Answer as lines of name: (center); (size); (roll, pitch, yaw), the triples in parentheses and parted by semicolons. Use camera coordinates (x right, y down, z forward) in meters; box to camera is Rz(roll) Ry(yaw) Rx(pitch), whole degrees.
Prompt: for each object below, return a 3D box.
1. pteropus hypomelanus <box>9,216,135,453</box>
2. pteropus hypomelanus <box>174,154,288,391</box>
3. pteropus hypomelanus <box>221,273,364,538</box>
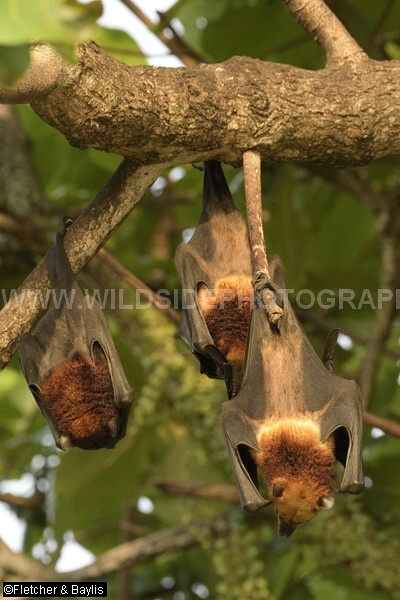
pteropus hypomelanus: (-0.377, 0.109, 2.184); (0.326, 0.214, 0.744); (-25, 68, 12)
pteropus hypomelanus: (0.067, -0.083, 2.220); (0.315, 0.895, 0.333); (9, 42, 22)
pteropus hypomelanus: (0.225, 0.251, 1.861); (0.367, 0.528, 0.498); (0, 38, 10)
